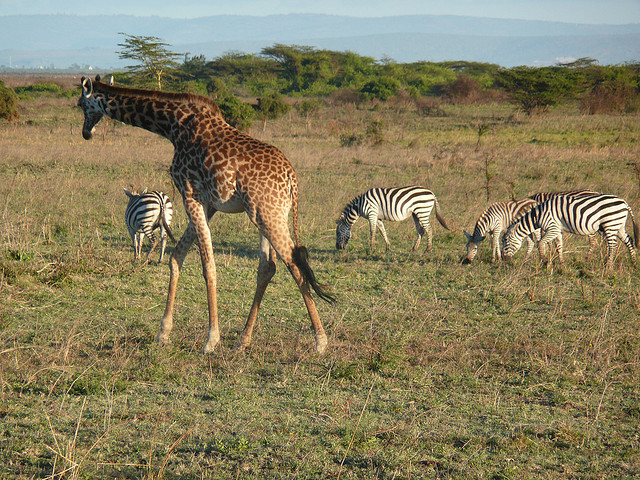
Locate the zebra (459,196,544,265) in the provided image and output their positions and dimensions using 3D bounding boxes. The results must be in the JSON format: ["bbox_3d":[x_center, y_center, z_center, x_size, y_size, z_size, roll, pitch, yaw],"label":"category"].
[{"bbox_3d":[5.328,-0.068,26.096,2.723,1.846,0.813,-4,-12,9],"label":"zebra"}]

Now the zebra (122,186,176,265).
[{"bbox_3d":[-4.603,-0.369,25.671,1.261,1.928,1.100,-2,13,-14],"label":"zebra"}]
